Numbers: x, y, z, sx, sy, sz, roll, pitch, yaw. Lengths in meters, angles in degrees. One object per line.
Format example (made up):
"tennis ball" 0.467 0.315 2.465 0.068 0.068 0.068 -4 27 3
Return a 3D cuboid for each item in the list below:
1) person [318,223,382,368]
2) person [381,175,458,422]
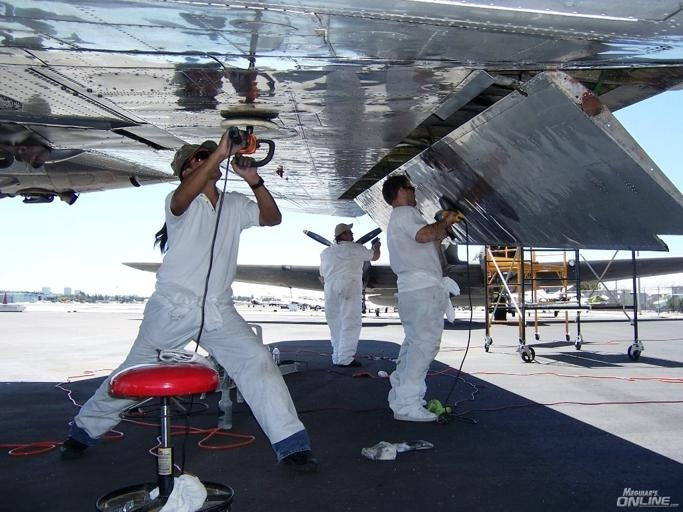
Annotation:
"person" 0.467 0.613 8.628 1.327 2.193 1.023 4 5 -26
"person" 1.036 0.463 5.504 1.546 2.055 1.075 0 0 -12
